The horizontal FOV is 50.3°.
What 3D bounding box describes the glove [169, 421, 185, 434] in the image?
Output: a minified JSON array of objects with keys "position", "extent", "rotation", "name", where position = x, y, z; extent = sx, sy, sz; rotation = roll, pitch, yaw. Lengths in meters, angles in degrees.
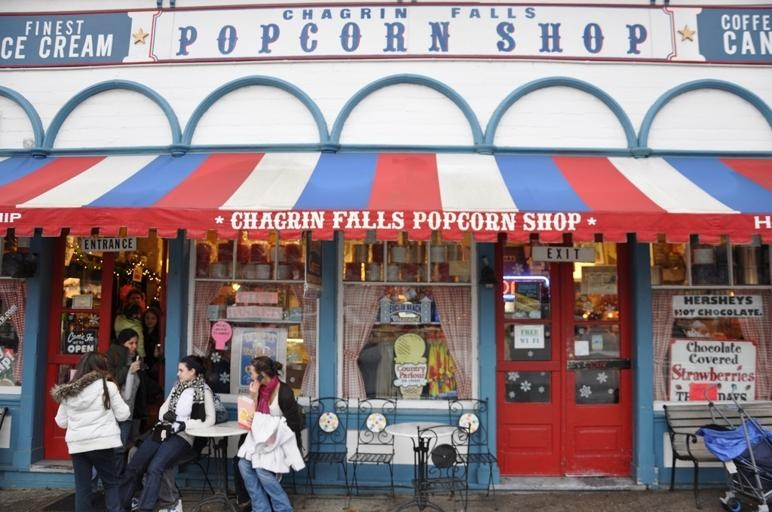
[{"position":[-3.203,2.641,12.613],"extent":[0.226,0.172,0.087],"rotation":[4,-12,-15],"name":"glove"}]
